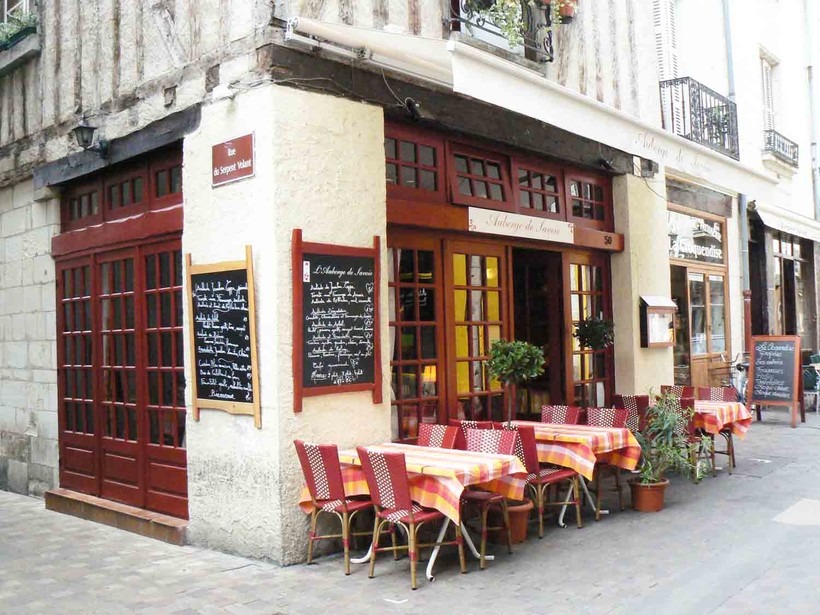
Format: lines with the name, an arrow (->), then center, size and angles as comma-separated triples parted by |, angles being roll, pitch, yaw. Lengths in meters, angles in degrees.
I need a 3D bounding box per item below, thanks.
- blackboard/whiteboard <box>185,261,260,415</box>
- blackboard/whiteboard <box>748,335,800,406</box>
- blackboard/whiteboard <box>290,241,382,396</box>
blackboard/whiteboard -> -1.736, 0.296, 7.464 | 0.092, 2.033, 1.287 | -5, 3, -44
blackboard/whiteboard -> 6.065, 0.981, 13.216 | 0.767, 1.257, 0.712 | 1, 29, 23
blackboard/whiteboard -> -0.726, 0.115, 7.361 | 0.091, 2.179, 1.298 | 2, 3, 42
